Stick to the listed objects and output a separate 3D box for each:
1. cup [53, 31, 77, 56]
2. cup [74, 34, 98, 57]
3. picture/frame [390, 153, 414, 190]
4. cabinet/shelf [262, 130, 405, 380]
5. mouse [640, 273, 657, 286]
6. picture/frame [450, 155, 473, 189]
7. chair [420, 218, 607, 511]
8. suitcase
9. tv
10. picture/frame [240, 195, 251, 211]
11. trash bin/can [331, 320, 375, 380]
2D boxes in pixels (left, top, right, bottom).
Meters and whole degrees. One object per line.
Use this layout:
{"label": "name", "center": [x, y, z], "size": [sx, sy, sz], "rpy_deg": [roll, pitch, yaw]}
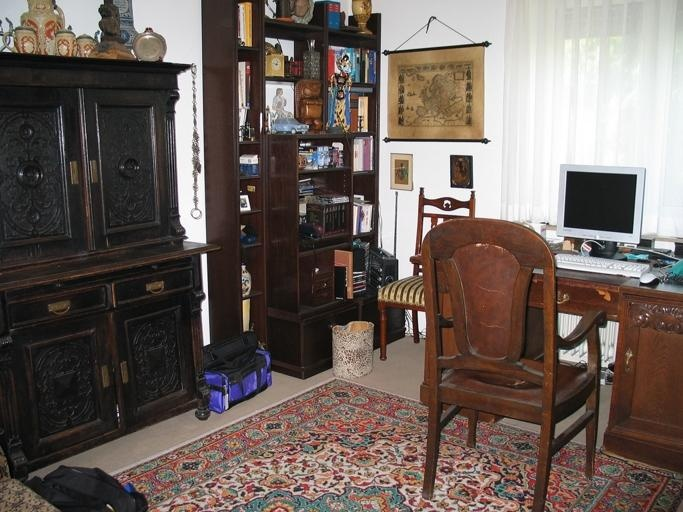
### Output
{"label": "cup", "center": [-1.527, -1.173, 2.877], "size": [0.082, 0.142, 0.091], "rpy_deg": [2, 13, 12]}
{"label": "cup", "center": [-1.449, -1.172, 2.961], "size": [0.120, 0.143, 0.124], "rpy_deg": [2, 11, 0]}
{"label": "picture/frame", "center": [0.560, -0.784, 4.788], "size": [0.290, 0.408, 0.015], "rpy_deg": [10, 18, 38]}
{"label": "cabinet/shelf", "center": [-0.107, 0.028, 4.213], "size": [0.608, 2.510, 1.559], "rpy_deg": [6, 13, 33]}
{"label": "mouse", "center": [1.744, 0.125, 2.948], "size": [0.131, 0.057, 0.073], "rpy_deg": [-11, 17, -36]}
{"label": "picture/frame", "center": [1.038, -0.732, 4.487], "size": [0.237, 0.334, 0.025], "rpy_deg": [11, 17, 43]}
{"label": "chair", "center": [0.841, 0.519, 2.582], "size": [0.888, 1.463, 0.511], "rpy_deg": [2, 13, 12]}
{"label": "suitcase", "center": [-0.748, 0.794, 3.692], "size": [0.400, 0.392, 0.535], "rpy_deg": [5, 11, 31]}
{"label": "tv", "center": [1.718, -0.297, 3.441], "size": [0.534, 0.662, 0.266], "rpy_deg": [8, 15, 37]}
{"label": "picture/frame", "center": [-0.736, -0.398, 3.941], "size": [0.007, 0.112, 0.109], "rpy_deg": [-9, 11, 29]}
{"label": "trash bin/can", "center": [0.094, 0.728, 4.185], "size": [0.348, 0.379, 0.372], "rpy_deg": [-4, 8, -19]}
